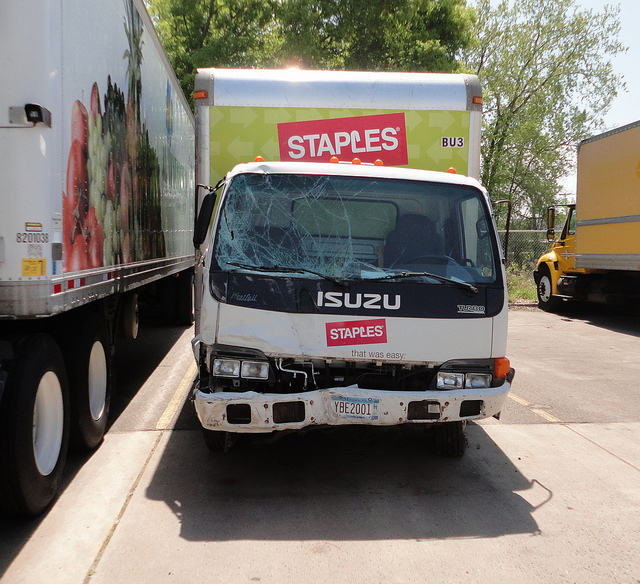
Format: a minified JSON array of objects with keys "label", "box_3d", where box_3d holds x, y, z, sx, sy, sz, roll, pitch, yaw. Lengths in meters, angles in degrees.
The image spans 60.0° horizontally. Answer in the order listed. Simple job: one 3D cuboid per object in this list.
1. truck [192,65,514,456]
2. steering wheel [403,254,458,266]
[{"label":"truck","box_3d":[-0.080,-0.228,6.580,2.290,3.749,5.586,-1,-2,-6]},{"label":"steering wheel","box_3d":[0.810,-0.246,4.130,0.385,0.071,0.071,1,5,-9]}]
